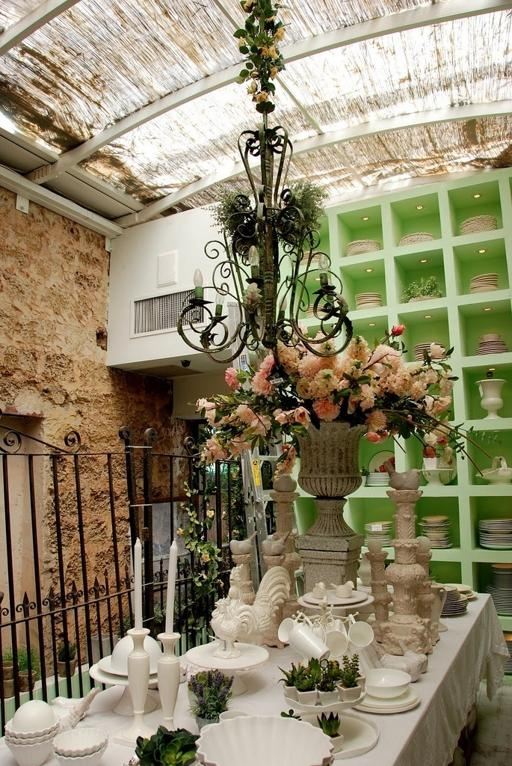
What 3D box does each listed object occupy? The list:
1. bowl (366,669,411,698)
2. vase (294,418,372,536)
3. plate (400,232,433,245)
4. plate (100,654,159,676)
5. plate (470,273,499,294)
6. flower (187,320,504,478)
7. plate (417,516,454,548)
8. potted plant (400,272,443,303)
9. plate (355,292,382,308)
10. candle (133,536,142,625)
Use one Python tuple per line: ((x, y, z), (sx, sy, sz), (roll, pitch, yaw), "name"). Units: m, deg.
((0.292, 0.676, 1.287), (0.098, 0.037, 0.098), (-2, -3, 0), "bowl")
((0.220, 0.299, 1.807), (0.308, 0.375, 0.312), (2, -18, -3), "vase")
((1.197, -1.078, 4.296), (0.152, 0.061, 0.146), (-1, 1, 0), "plate")
((-0.310, 0.628, 1.265), (0.129, 0.025, 0.128), (2, -17, -7), "plate")
((1.599, -0.683, 4.027), (0.163, 0.144, 0.161), (0, -13, 1), "plate")
((0.283, 0.076, 1.793), (0.764, 0.423, 0.610), (4, -14, -3), "flower")
((1.227, 1.020, 3.907), (0.194, 0.206, 0.465), (-4, -4, 18), "plate")
((1.258, -0.697, 4.344), (0.266, 0.224, 0.296), (-4, 6, -13), "potted plant")
((0.858, -0.627, 4.381), (0.145, 0.100, 0.144), (5, -9, -43), "plate")
((-0.223, 0.369, 1.072), (0.015, 0.170, 0.132), (-2, -4, -13), "candle")
